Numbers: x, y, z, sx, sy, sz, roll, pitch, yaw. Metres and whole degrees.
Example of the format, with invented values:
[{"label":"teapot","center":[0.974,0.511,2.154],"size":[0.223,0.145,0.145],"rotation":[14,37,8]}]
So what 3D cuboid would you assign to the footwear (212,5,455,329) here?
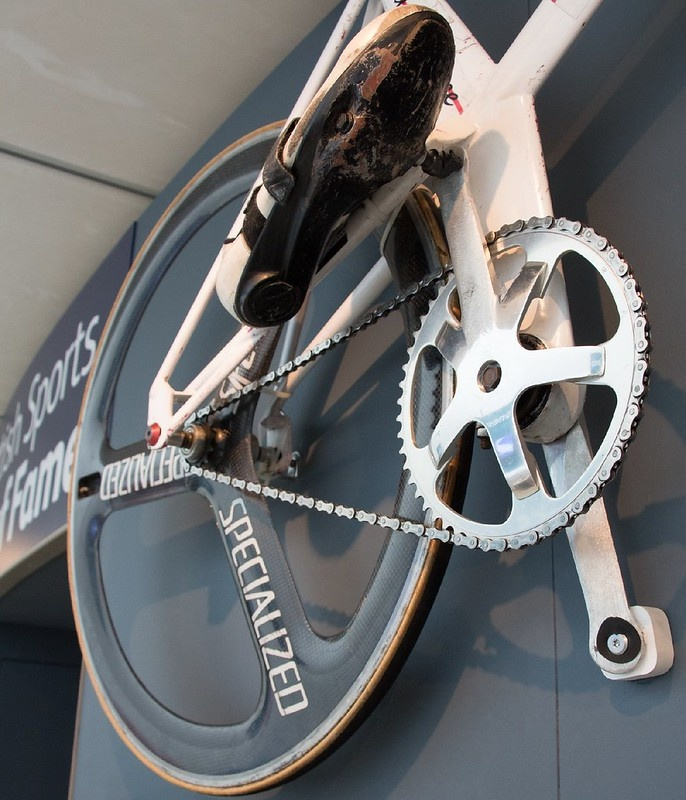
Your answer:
[{"label":"footwear","center":[-0.024,-0.176,0.726],"size":[0.117,0.136,0.339],"rotation":[35,-65,-8]}]
